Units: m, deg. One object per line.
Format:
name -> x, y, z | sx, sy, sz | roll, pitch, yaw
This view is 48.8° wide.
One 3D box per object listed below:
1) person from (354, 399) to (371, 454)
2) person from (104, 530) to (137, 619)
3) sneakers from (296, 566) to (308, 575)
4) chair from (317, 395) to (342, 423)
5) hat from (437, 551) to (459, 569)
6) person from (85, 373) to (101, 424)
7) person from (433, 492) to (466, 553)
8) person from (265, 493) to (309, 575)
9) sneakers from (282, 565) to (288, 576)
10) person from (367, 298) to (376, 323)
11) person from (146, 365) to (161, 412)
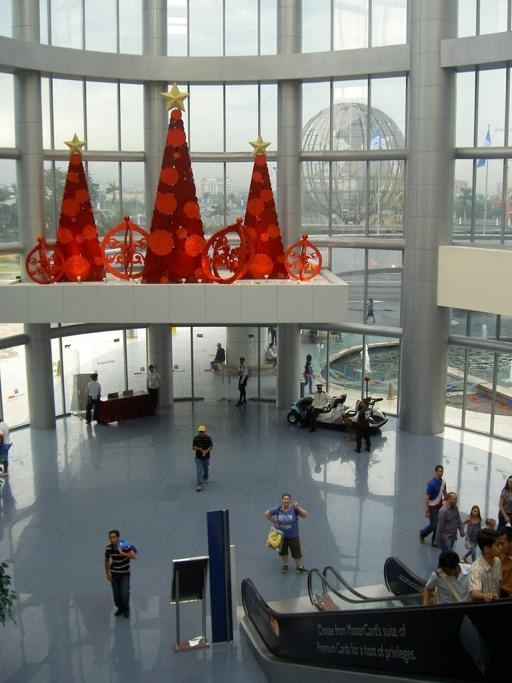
person -> 3.028, 2.286, 15.989 | 0.429, 1.580, 1.096 | 1, 7, 12
person -> -1.930, 3.307, 8.053 | 0.402, 1.438, 0.523 | -2, 7, -16
sneakers -> 0.767, 3.826, 9.453 | 0.182, 0.083, 0.087 | 0, 6, 2
chair -> 2.396, 2.115, 17.989 | 0.865, 0.869, 0.614 | -1, -3, 9
hat -> 1.665, 1.881, 4.924 | 0.146, 0.181, 0.189 | 1, -2, 6
person -> -5.298, 1.821, 18.320 | 0.469, 1.690, 0.731 | -2, 7, -19
person -> 3.342, 3.101, 9.777 | 0.447, 1.450, 1.402 | 2, 7, 19
person -> 0.509, 3.166, 9.422 | 0.637, 1.625, 1.713 | 0, 7, 4
sneakers -> 0.481, 3.844, 9.479 | 0.097, 0.128, 0.294 | -2, -2, 6
person -> 3.892, -1.099, 19.224 | 0.234, 0.860, 0.410 | 2, 7, 20
person -> -3.562, 1.603, 19.605 | 0.426, 1.662, 0.925 | -1, 7, -11
